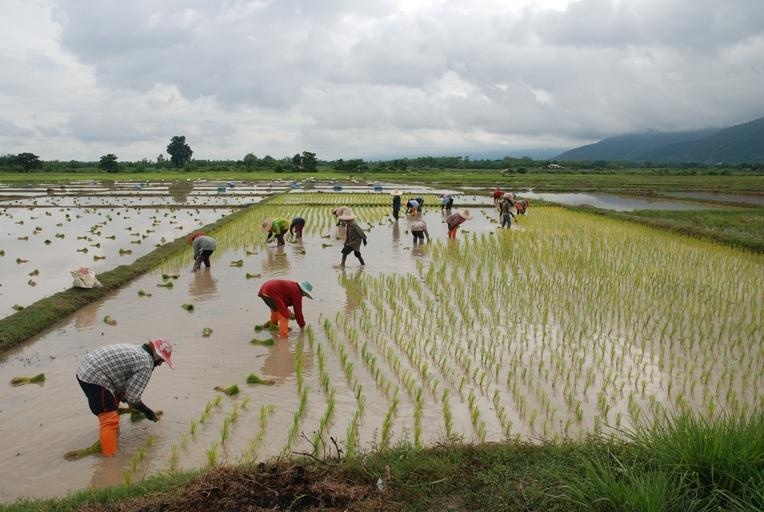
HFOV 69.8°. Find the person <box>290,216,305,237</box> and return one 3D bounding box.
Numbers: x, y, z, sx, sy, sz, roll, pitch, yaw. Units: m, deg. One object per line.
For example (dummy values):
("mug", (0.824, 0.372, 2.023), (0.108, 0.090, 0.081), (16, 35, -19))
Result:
("person", (-3.139, -1.080, 20.178), (0.471, 0.884, 1.570), (-3, 14, -11))

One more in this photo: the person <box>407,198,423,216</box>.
("person", (1.538, -2.321, 25.596), (0.485, 0.597, 1.433), (3, 13, 6))

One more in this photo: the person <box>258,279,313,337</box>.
("person", (-1.949, 1.019, 11.135), (1.143, 1.062, 0.791), (-2, 5, -31))

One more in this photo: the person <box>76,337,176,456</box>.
("person", (-3.767, 2.013, 8.088), (0.682, 1.392, 1.030), (13, 19, 41))

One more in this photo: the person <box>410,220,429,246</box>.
("person", (1.316, -0.850, 19.146), (0.504, 0.844, 1.314), (1, 14, 4))

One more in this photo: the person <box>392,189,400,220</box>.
("person", (0.652, -2.238, 24.578), (0.238, 1.325, 0.584), (3, 15, 11))

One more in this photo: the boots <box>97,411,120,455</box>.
("boots", (-3.892, 2.515, 7.782), (0.243, 0.565, 0.255), (-4, 15, -15))

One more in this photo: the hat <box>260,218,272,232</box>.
("hat", (-3.827, -1.011, 17.600), (0.423, 0.477, 0.527), (4, 4, 5))

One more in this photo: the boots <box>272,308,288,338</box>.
("boots", (-2.021, 1.333, 10.896), (0.181, 0.252, 0.560), (10, -3, -31))

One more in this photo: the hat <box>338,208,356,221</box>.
("hat", (-0.983, -1.209, 15.835), (0.524, 0.280, 0.729), (0, 6, -9))

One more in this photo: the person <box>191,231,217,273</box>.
("person", (-5.034, -0.097, 15.367), (0.619, 0.973, 0.841), (-6, 16, -24))
